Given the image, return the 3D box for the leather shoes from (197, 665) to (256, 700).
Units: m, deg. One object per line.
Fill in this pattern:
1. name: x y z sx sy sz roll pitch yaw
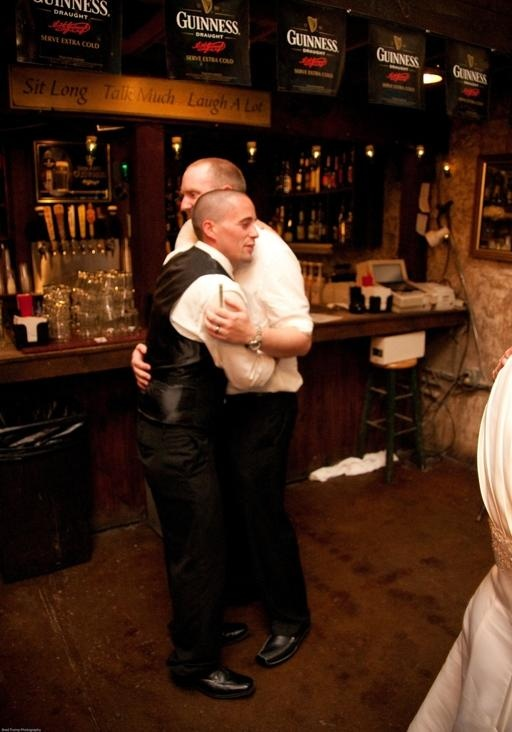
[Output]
1. leather shoes: -0.104 1.148 2.072 0.197 0.082 0.097 0 6 7

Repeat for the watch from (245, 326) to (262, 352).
1. watch: -0.010 -0.078 1.767 0.046 0.083 0.083 7 12 34

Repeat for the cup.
1. cup: -0.944 -0.341 3.398 0.587 0.396 0.427 -2 7 -3

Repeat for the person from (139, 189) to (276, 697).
1. person: -0.172 0.259 2.048 0.519 1.695 0.488 -1 10 -12

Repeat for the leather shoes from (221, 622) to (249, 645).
1. leather shoes: -0.091 1.126 2.434 0.048 0.060 0.143 8 15 40
